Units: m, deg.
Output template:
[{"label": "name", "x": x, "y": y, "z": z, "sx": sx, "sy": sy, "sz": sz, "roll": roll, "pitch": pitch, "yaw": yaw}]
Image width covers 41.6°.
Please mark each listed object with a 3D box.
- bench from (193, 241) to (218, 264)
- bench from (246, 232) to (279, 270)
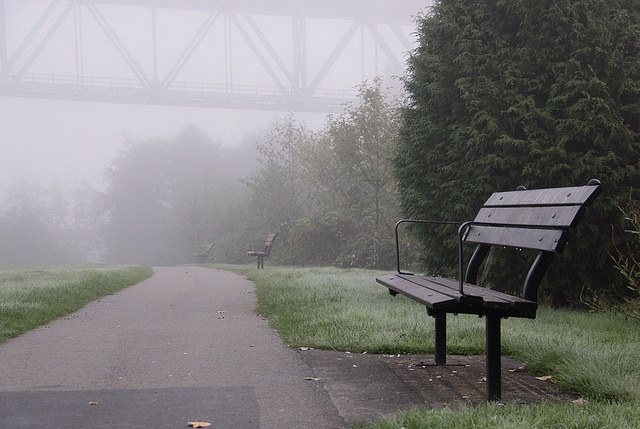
[{"label": "bench", "x": -8.333, "y": 2.683, "z": 61.292, "sx": 1.848, "sy": 1.524, "sz": 2.351, "roll": 2, "pitch": 10, "yaw": 1}, {"label": "bench", "x": -2.380, "y": 1.583, "z": 39.029, "sx": 1.790, "sy": 2.258, "sz": 1.851, "roll": 3, "pitch": -5, "yaw": -16}]
